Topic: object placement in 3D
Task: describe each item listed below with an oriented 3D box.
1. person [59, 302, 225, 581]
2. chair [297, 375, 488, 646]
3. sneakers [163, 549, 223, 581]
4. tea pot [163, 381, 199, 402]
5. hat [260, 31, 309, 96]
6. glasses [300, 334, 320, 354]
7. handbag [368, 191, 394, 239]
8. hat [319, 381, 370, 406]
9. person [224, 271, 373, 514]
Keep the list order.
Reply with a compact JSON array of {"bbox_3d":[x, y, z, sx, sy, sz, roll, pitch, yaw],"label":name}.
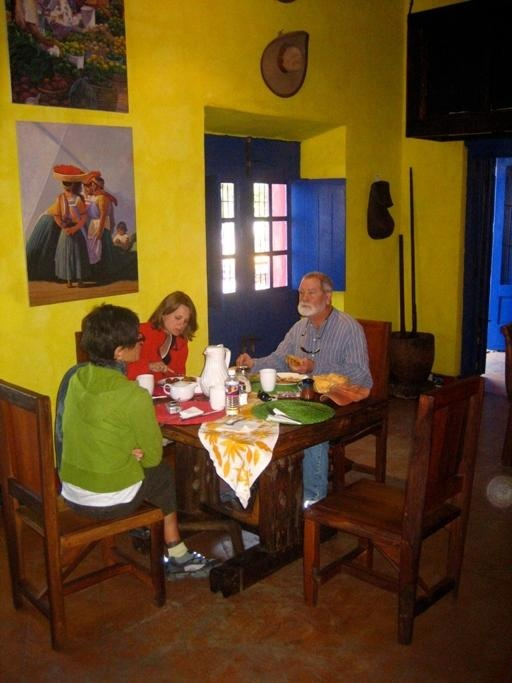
[{"bbox_3d":[-0.447,0.268,1.809,0.398,0.771,0.318,-4,9,-20],"label":"person"},{"bbox_3d":[0.452,0.518,1.877,0.466,0.848,0.438,7,12,42],"label":"chair"},{"bbox_3d":[-0.261,0.879,2.222,0.263,0.108,0.085,-1,5,-12],"label":"sneakers"},{"bbox_3d":[-0.300,0.187,2.159,0.112,0.068,0.080,1,5,4],"label":"tea pot"},{"bbox_3d":[0.231,-1.912,3.812,0.112,0.438,0.517,7,11,40],"label":"hat"},{"bbox_3d":[0.269,0.013,2.784,0.071,0.082,0.094,-2,-3,7],"label":"glasses"},{"bbox_3d":[1.108,-1.103,4.900,0.162,0.409,0.312,6,11,36],"label":"handbag"},{"bbox_3d":[0.358,0.206,2.183,0.096,0.037,0.126,17,12,43],"label":"hat"},{"bbox_3d":[0.260,0.268,2.765,0.683,1.176,0.618,3,1,-37],"label":"person"}]
